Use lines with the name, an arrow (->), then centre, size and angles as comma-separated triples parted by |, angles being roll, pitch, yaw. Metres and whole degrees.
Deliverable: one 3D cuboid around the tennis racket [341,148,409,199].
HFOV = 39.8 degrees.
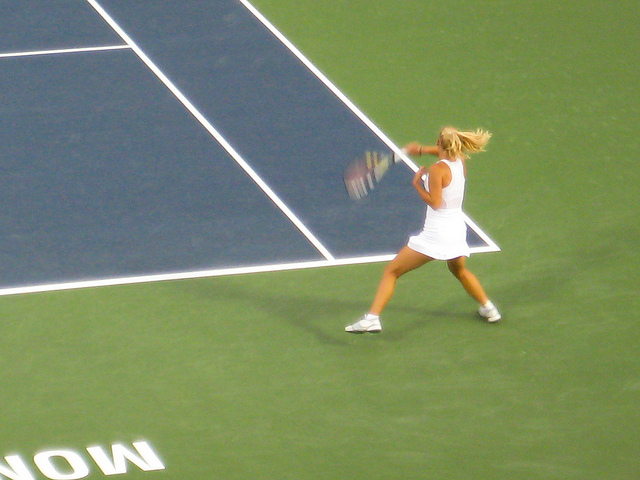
tennis racket -> 0.685, -0.766, 10.579 | 0.054, 0.301, 0.915 | -5, -6, -43
